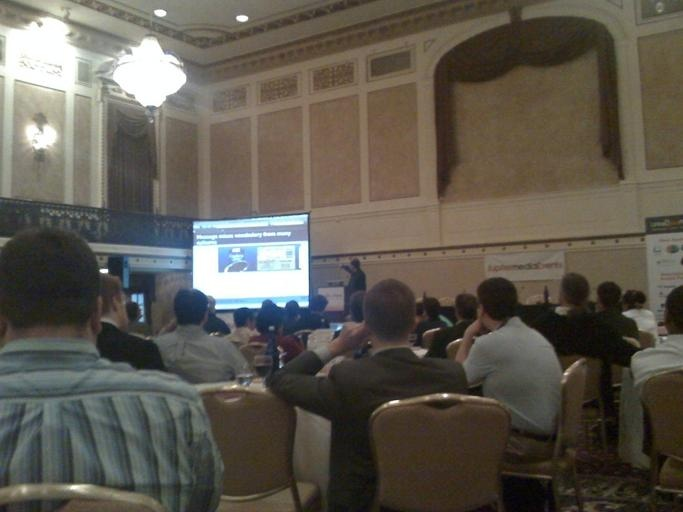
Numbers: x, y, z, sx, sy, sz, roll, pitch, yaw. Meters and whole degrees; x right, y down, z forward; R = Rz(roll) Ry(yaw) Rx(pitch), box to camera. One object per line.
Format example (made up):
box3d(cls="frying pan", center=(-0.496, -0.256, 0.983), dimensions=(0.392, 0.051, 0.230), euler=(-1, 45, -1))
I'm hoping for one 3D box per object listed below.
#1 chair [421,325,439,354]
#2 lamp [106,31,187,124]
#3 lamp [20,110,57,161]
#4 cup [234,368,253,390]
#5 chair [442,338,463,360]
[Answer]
box3d(cls="chair", center=(0.777, 0.740, 5.389), dimensions=(0.233, 0.265, 0.236), euler=(-1, -6, 15))
box3d(cls="lamp", center=(-2.556, -2.165, 7.767), dimensions=(0.969, 1.095, 0.931), euler=(-2, 5, -39))
box3d(cls="lamp", center=(-5.177, -2.054, 10.454), dimensions=(0.155, 0.713, 0.507), euler=(-3, -5, 36))
box3d(cls="cup", center=(-0.555, 0.702, 3.494), dimensions=(0.103, 0.088, 0.117), euler=(2, -12, -10))
box3d(cls="chair", center=(0.824, 0.664, 4.400), dimensions=(0.137, 0.189, 0.149), euler=(3, 0, 34))
